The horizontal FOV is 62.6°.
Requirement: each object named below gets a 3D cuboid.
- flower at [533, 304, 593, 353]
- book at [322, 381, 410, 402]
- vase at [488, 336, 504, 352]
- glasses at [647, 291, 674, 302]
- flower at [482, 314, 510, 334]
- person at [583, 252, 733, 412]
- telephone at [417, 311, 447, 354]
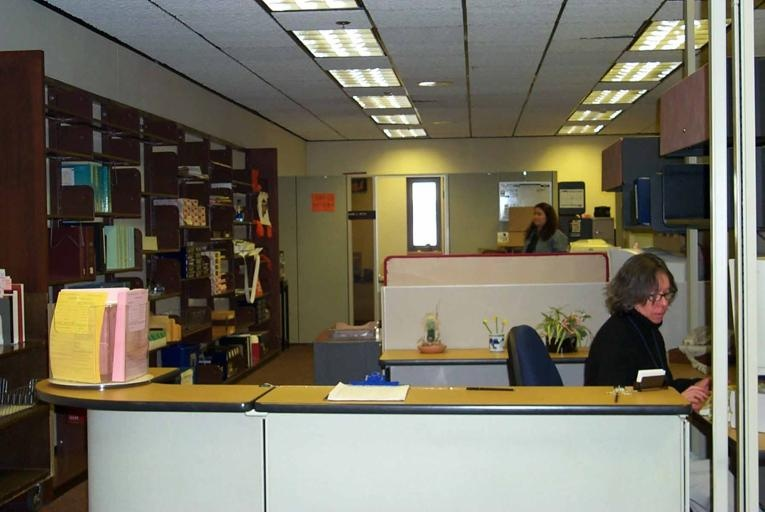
[{"bbox_3d":[1.470,0.581,5.019,0.369,0.254,0.365,0,1,2],"label":"flower"},{"bbox_3d":[-0.075,0.714,3.321,0.422,0.035,0.268,2,11,7],"label":"book"},{"bbox_3d":[0.905,0.687,4.933,0.121,0.114,0.118,-1,0,5],"label":"vase"},{"bbox_3d":[1.683,0.242,3.764,0.186,0.061,0.032,-5,12,-22],"label":"glasses"},{"bbox_3d":[0.949,0.568,5.229,0.201,0.223,0.145,2,-3,-8],"label":"flower"},{"bbox_3d":[1.642,0.444,3.835,0.828,0.819,0.782,-1,-4,-14],"label":"person"},{"bbox_3d":[0.397,0.624,5.094,0.236,0.327,0.221,0,-3,-13],"label":"telephone"}]
